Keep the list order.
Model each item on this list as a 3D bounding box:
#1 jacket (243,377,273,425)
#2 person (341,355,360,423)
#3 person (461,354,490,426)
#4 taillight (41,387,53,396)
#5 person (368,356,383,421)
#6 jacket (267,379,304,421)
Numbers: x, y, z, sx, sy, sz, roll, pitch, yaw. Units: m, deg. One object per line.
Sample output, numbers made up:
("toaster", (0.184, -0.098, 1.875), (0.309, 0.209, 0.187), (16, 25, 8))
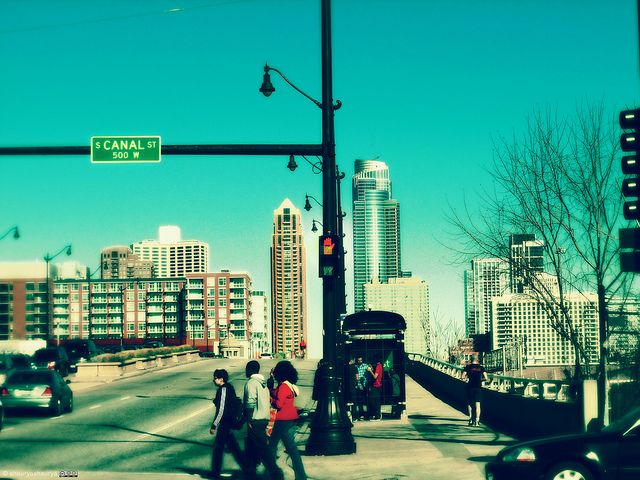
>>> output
("jacket", (-1.732, 4.261, 28.895), (0.683, 1.282, 1.125), (2, 6, 17))
("person", (1.135, 5.351, 38.704), (0.608, 2.387, 1.564), (-1, -6, 1))
("person", (5.366, 5.012, 36.841), (0.817, 2.139, 0.680), (0, -4, 2))
("taillight", (-10.095, 5.561, 39.210), (0.272, 0.200, 0.285), (-4, -6, 26))
("person", (2.001, 5.319, 38.378), (0.579, 2.304, 1.332), (-1, -6, 2))
("jacket", (-0.933, 4.262, 28.761), (0.892, 1.158, 0.907), (0, 1, 19))
